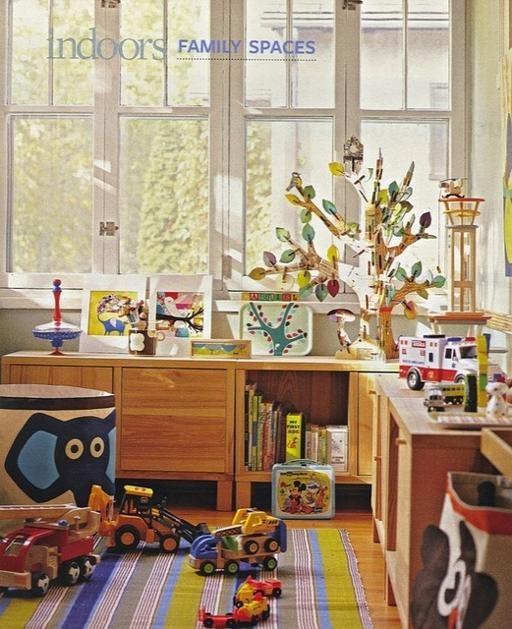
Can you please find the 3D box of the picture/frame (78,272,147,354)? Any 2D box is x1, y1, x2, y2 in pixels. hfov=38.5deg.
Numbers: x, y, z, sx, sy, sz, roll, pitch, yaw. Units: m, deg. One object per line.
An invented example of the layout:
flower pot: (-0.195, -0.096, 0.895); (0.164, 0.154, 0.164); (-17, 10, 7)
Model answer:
picture/frame: (-0.619, 0.004, 3.198); (0.392, 0.412, 0.019); (1, -13, 2)

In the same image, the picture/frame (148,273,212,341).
picture/frame: (-0.326, -0.024, 3.197); (0.308, 0.313, 0.024); (3, -8, -5)

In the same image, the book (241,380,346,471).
book: (0.154, 0.457, 2.983); (0.396, 0.325, 0.130); (2, -3, -2)
